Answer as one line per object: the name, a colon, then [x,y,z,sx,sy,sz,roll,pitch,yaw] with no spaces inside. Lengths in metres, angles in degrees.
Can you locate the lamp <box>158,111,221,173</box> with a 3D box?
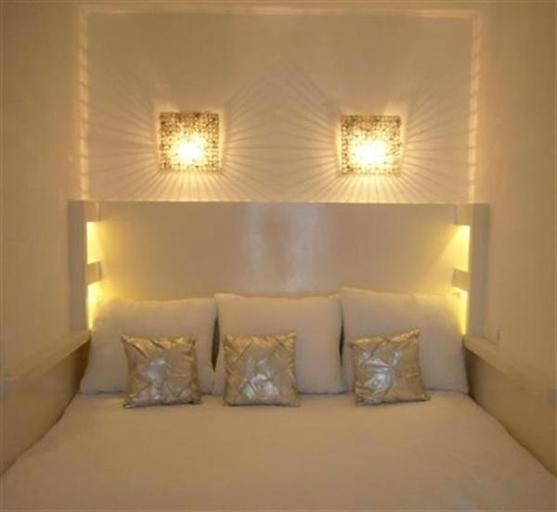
lamp: [-0.387,-0.517,2.289,0.291,0.074,0.351,-14,-45,-17]

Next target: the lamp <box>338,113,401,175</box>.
lamp: [0.417,-0.504,2.225,0.276,0.154,0.226,-4,-56,-2]
